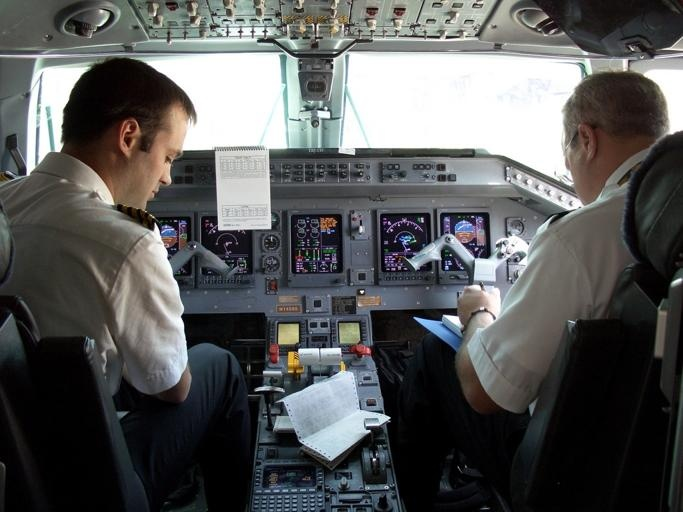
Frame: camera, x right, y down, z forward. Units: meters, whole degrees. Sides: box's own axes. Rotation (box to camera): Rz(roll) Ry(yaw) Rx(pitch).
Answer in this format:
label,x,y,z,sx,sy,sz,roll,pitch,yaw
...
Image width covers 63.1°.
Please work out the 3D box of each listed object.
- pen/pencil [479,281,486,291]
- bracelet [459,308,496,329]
label,x,y,z,sx,sy,sz,roll,pitch,yaw
pen/pencil,0.835,0.176,3.298,0.020,0.023,0.086,30,-24,40
bracelet,0.579,0.270,2.353,0.103,0.030,0.107,-32,-15,-14
